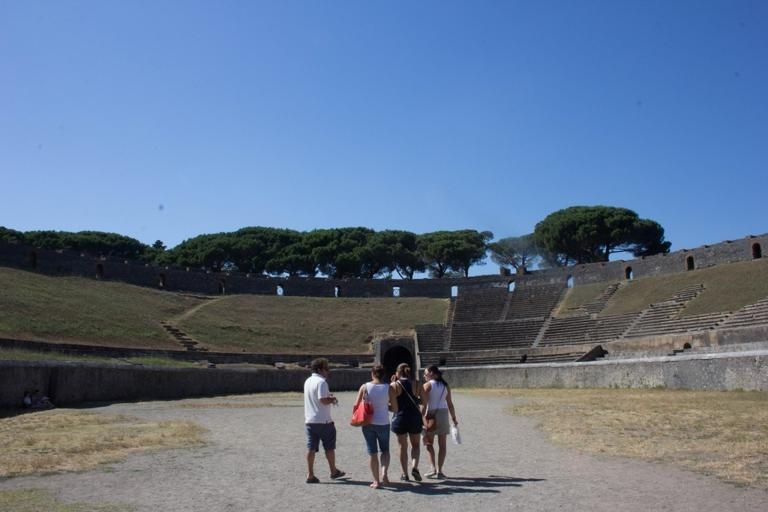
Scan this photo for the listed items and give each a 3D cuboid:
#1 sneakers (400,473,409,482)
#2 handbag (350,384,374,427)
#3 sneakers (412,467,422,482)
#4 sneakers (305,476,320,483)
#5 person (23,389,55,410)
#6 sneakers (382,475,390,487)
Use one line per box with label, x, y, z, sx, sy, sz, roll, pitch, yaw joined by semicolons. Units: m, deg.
sneakers;0.535;5.569;16.671;0.147;0.157;0.365;1;-18;-6
handbag;-0.572;3.685;16.339;0.441;1.010;0.631;6;-7;-28
sneakers;0.828;5.430;16.537;0.187;0.408;0.149;-5;-27;-7
sneakers;-1.765;5.516;16.484;0.346;0.208;0.228;4;-7;-11
person;-15.141;6.246;28.815;1.057;0.359;0.753;12;5;-18
sneakers;0.043;5.548;16.387;0.135;0.257;0.257;-3;11;-6
